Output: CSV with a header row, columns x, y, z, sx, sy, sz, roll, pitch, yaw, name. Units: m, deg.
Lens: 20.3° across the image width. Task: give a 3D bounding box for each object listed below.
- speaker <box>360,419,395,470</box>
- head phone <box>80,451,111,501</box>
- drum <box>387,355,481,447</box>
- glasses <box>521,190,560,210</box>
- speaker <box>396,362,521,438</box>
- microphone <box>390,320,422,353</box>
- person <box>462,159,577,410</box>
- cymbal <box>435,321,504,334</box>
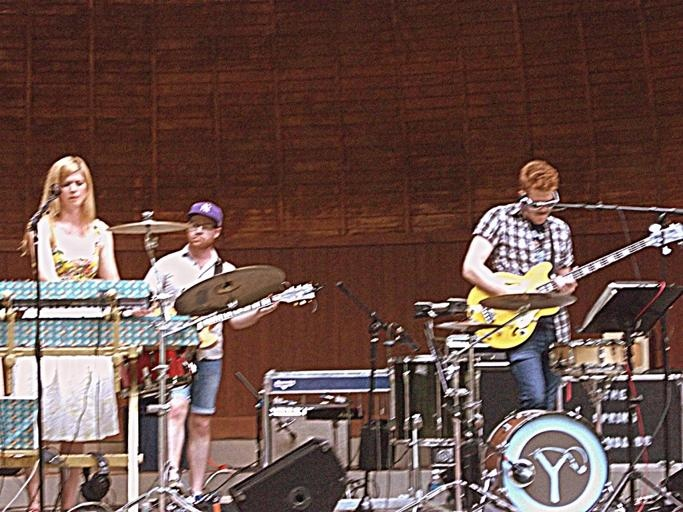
x,y,z,sx,sy,sz,roll,pitch,yaw,name
0.279,1.533,15.217,0.262,0.389,0.144,-2,-7,0,speaker
-1.797,1.645,13.978,0.194,0.357,0.181,-3,-7,12,head phone
0.716,1.138,14.607,0.688,0.638,0.515,1,0,-4,drum
1.526,-0.421,14.578,0.289,0.135,0.183,-1,-6,0,glasses
0.875,1.153,14.720,1.028,0.593,0.639,1,-1,-1,speaker
0.491,0.634,14.505,0.216,0.201,0.377,-2,-6,1,microphone
1.500,0.177,14.731,1.076,1.781,0.800,2,2,-6,person
0.960,0.538,14.216,0.488,0.101,0.509,-2,-6,4,cymbal
